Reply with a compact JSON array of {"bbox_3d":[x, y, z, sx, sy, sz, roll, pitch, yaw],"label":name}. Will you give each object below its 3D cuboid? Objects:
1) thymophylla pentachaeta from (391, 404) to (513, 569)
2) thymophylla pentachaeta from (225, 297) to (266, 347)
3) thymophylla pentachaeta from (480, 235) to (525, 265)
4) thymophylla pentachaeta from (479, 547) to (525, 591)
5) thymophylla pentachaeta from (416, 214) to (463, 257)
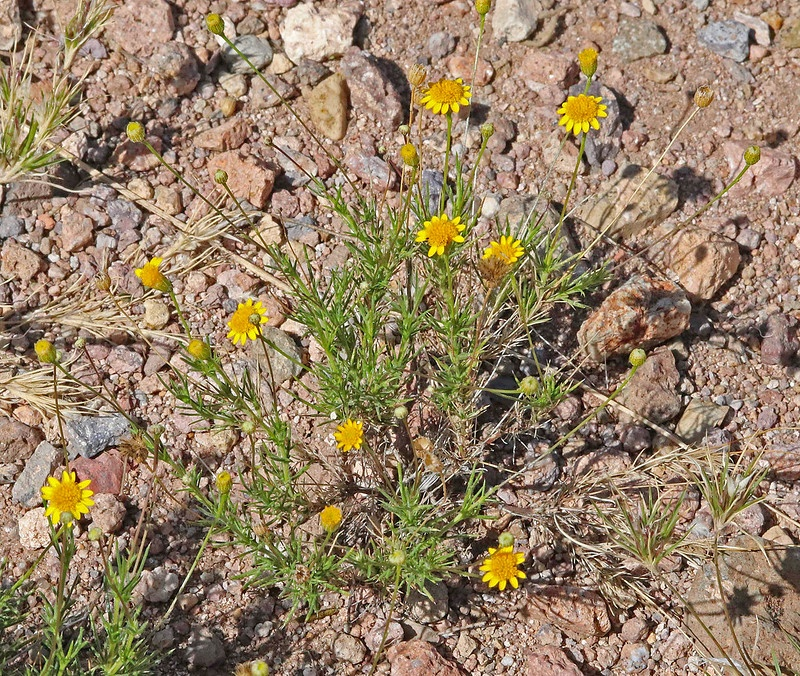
[{"bbox_3d":[0.195,0.709,3.786,0.542,0.267,0.660,37,109,15],"label":"thymophylla pentachaeta"},{"bbox_3d":[-0.643,-0.067,3.532,0.165,0.078,0.206,18,86,30],"label":"thymophylla pentachaeta"},{"bbox_3d":[0.459,-0.384,3.653,0.145,0.056,0.166,-15,63,-2],"label":"thymophylla pentachaeta"},{"bbox_3d":[0.426,0.935,3.399,0.177,0.083,0.209,-1,36,-6],"label":"thymophylla pentachaeta"},{"bbox_3d":[0.185,-0.468,3.564,0.185,0.210,0.093,1,76,-3],"label":"thymophylla pentachaeta"}]
